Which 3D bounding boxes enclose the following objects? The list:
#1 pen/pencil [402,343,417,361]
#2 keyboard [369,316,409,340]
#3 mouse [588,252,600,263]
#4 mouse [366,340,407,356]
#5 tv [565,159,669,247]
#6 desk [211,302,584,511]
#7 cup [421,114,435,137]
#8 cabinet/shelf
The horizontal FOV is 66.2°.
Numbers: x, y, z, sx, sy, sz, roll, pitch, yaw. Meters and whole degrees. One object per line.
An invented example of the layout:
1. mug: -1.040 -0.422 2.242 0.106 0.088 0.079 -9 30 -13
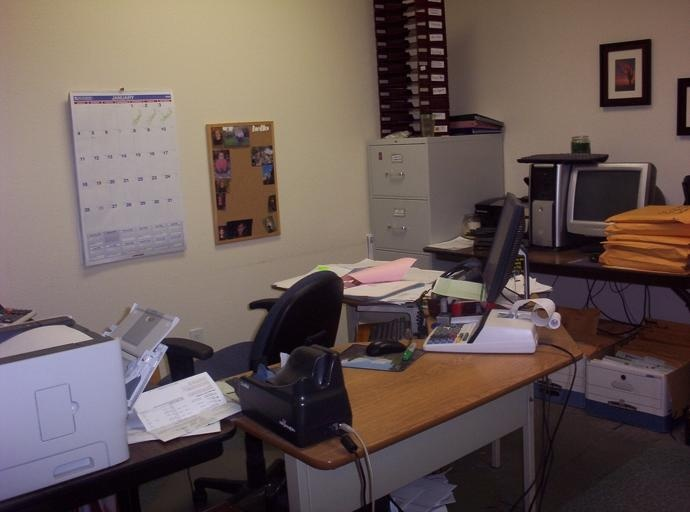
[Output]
1. pen/pencil: 0.240 0.363 2.008 0.025 0.020 0.084 7 25 21
2. keyboard: 0.207 0.345 2.459 0.176 0.059 0.095 -9 17 -20
3. mouse: 1.447 0.008 3.083 0.070 0.046 0.061 -12 16 -40
4. mouse: 0.162 0.339 2.040 0.116 0.041 0.066 -8 11 -25
5. tv: 1.685 -0.334 3.363 0.255 0.465 0.466 12 -3 -43
6. desk: 0.244 0.531 1.699 0.988 0.494 0.522 -14 21 -35
7. cup: 0.614 -0.972 3.936 0.095 0.164 0.209 -1 15 7
8. cabinet/shelf: 0.668 -0.410 3.825 0.740 1.361 0.603 -14 22 -29
